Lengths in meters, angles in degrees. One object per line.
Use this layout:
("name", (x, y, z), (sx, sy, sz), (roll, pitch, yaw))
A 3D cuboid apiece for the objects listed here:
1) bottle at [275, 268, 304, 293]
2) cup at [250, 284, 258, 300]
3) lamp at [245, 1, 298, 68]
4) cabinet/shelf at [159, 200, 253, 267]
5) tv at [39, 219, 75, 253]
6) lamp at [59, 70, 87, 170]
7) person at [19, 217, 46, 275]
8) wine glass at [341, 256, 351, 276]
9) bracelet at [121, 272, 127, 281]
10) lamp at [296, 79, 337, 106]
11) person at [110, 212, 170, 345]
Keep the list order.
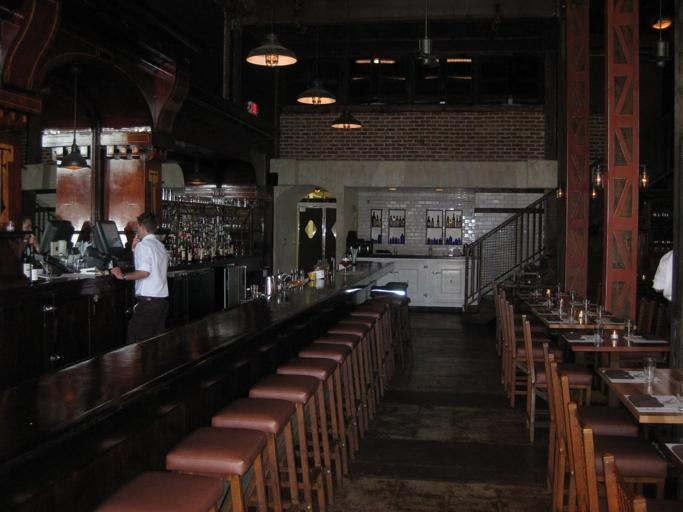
("bottle", (-0.605, 0.269, 7.399), (0.137, 0.188, 0.486), (1, 7, 12))
("cup", (-0.899, 0.372, 6.570), (0.101, 0.175, 0.105), (1, 0, 0))
("lamp", (-0.801, -2.502, 7.191), (0.518, 0.644, 0.556), (-1, 5, -14))
("cabinet/shelf", (-2.222, -0.362, 10.657), (2.519, 0.884, 0.399), (3, -5, 41))
("tv", (-3.271, -0.168, 7.271), (0.332, 0.321, 0.171), (-3, -1, -15))
("lamp", (-3.317, -1.658, 7.745), (0.286, 1.170, 0.900), (-3, 7, -24))
("person", (-3.412, -0.139, 7.006), (0.215, 0.537, 1.983), (-3, 8, -25))
("wine glass", (0.059, 0.142, 9.426), (0.154, 0.353, 0.159), (0, 1, 36))
("bracelet", (-2.355, 0.227, 6.880), (0.029, 0.096, 0.089), (4, -2, 39))
("lamp", (-0.414, -2.303, 9.186), (0.561, 0.376, 0.573), (-3, 6, -29))
("person", (-2.251, 0.486, 7.218), (0.697, 1.941, 0.736), (3, 11, 0))
